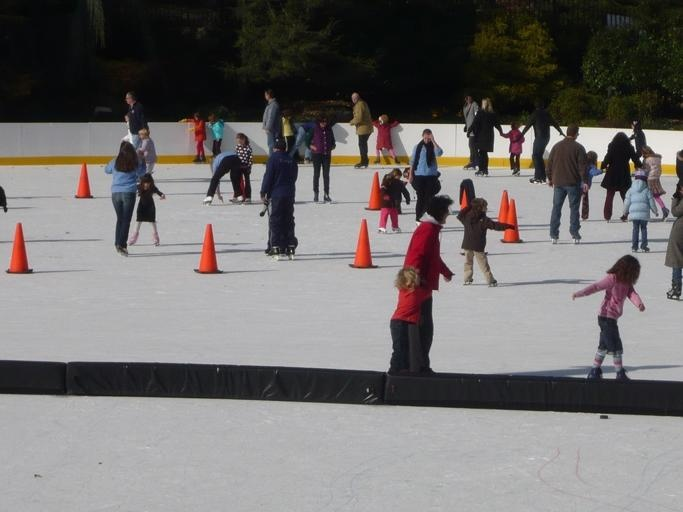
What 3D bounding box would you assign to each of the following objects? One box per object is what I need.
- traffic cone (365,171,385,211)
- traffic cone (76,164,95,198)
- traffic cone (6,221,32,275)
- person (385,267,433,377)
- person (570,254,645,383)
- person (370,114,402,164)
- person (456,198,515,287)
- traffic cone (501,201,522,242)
[{"bbox_3d":[0.686,-1.190,28.129,0.586,0.729,0.543,0,1,-16],"label":"traffic cone"},{"bbox_3d":[-5.113,-1.425,29.584,0.423,0.618,0.425,6,-14,-29],"label":"traffic cone"},{"bbox_3d":[-4.583,-0.191,21.113,0.332,0.749,1.258,-3,11,-12],"label":"traffic cone"},{"bbox_3d":[0.721,0.693,16.073,0.349,1.122,0.257,0,10,2],"label":"person"},{"bbox_3d":[2.999,0.670,16.428,0.695,1.325,1.007,2,11,12],"label":"person"},{"bbox_3d":[1.178,-2.945,37.633,0.634,1.338,1.671,0,11,1],"label":"person"},{"bbox_3d":[1.922,-0.211,20.312,0.619,1.270,0.953,0,11,4],"label":"person"},{"bbox_3d":[2.782,-0.562,24.232,0.451,0.709,0.501,0,2,3],"label":"traffic cone"}]
